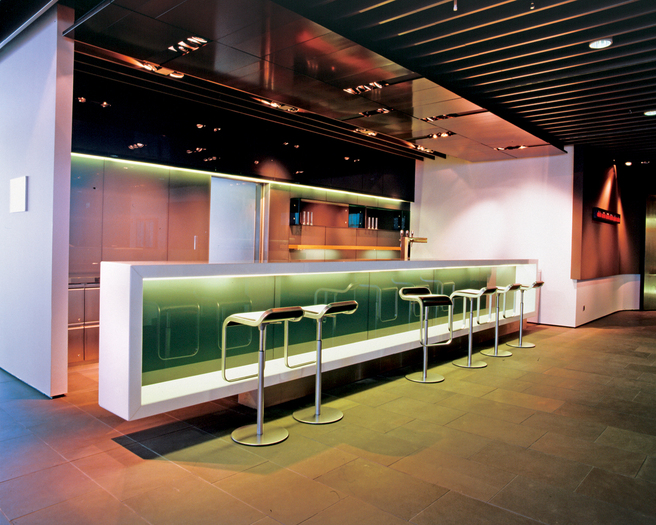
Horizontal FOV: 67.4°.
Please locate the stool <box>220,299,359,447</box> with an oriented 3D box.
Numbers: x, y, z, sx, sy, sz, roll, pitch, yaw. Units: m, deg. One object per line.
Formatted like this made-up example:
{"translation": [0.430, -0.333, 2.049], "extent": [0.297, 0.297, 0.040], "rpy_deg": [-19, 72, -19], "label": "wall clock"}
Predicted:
{"translation": [-0.399, 1.025, 4.487], "extent": [0.610, 1.034, 1.347], "rpy_deg": [2, 0, 39], "label": "stool"}
